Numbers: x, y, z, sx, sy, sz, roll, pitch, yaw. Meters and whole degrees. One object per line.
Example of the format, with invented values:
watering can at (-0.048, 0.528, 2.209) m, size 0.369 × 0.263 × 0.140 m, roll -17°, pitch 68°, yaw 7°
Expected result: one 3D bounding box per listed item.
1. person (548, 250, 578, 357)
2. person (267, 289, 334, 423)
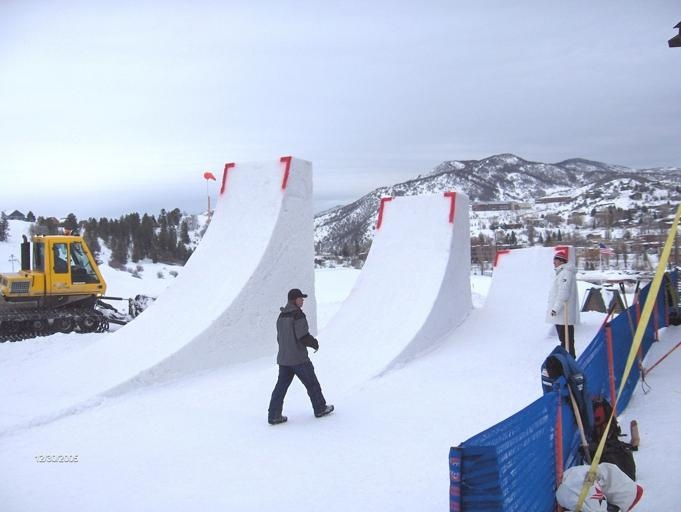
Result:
person at (3.334, 0.762, 11.651) m, size 0.432 × 1.657 × 2.268 m, roll 1°, pitch 13°, yaw 17°
person at (-0.612, 1.315, 10.228) m, size 0.876 × 1.711 × 0.557 m, roll -11°, pitch 14°, yaw -33°
